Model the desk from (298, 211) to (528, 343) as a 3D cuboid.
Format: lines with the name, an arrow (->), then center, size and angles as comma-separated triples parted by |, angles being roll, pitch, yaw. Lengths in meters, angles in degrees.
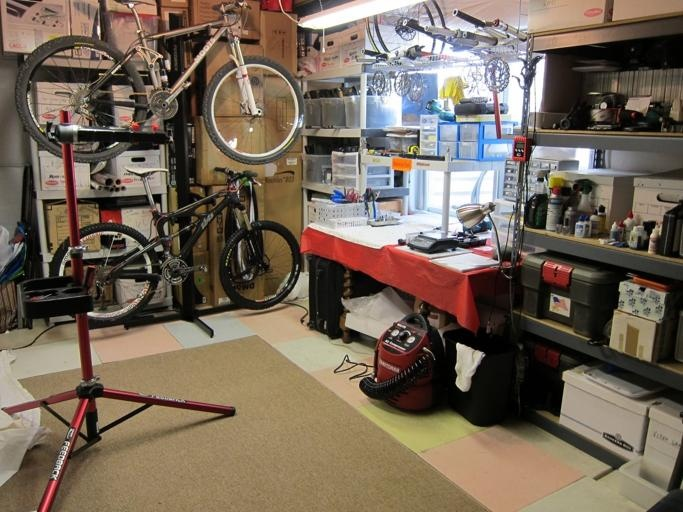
desk -> 0.502, 0.193, 3.550 | 0.689, 0.233, 1.076 | -5, 21, -34

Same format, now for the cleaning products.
cleaning products -> 1.292, -0.326, 3.133 | 0.349, 0.359, 0.343 | 4, 6, 23

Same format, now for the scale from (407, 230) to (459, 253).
scale -> 0.624, -0.080, 3.562 | 0.201, 0.081, 0.187 | -8, 17, -29

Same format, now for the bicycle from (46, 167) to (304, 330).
bicycle -> -1.447, -0.168, 4.906 | 2.066, 1.280, 1.042 | -6, 16, -26

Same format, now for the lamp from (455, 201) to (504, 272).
lamp -> 0.905, -0.177, 3.415 | 0.272, 0.370, 0.488 | 4, 15, 19

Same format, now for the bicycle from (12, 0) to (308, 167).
bicycle -> -1.409, -1.223, 4.132 | 2.279, 1.378, 1.143 | -2, 11, -15
